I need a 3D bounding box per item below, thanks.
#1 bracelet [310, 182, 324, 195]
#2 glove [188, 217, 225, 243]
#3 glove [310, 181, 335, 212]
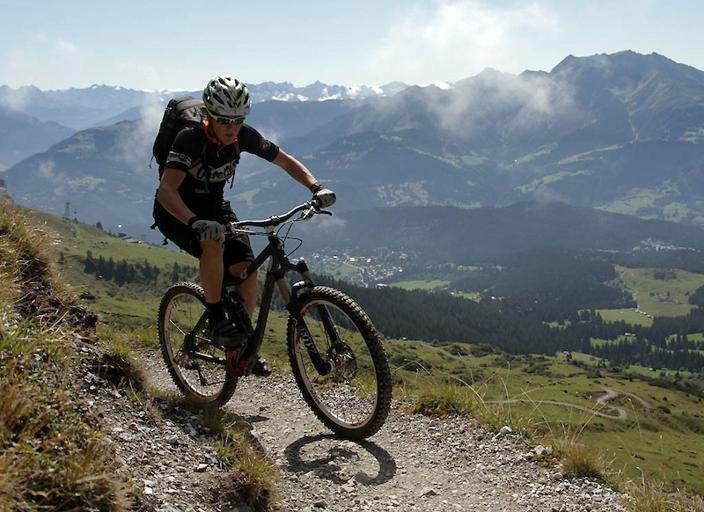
[{"bbox_3d":[-0.665,-1.282,11.238,0.209,0.159,0.176,-12,-4,16],"label":"bracelet"},{"bbox_3d":[-2.411,-0.454,9.750,0.465,0.152,0.353,27,43,24],"label":"glove"},{"bbox_3d":[-0.580,-1.085,11.048,0.387,0.241,0.521,-33,52,-30],"label":"glove"}]
